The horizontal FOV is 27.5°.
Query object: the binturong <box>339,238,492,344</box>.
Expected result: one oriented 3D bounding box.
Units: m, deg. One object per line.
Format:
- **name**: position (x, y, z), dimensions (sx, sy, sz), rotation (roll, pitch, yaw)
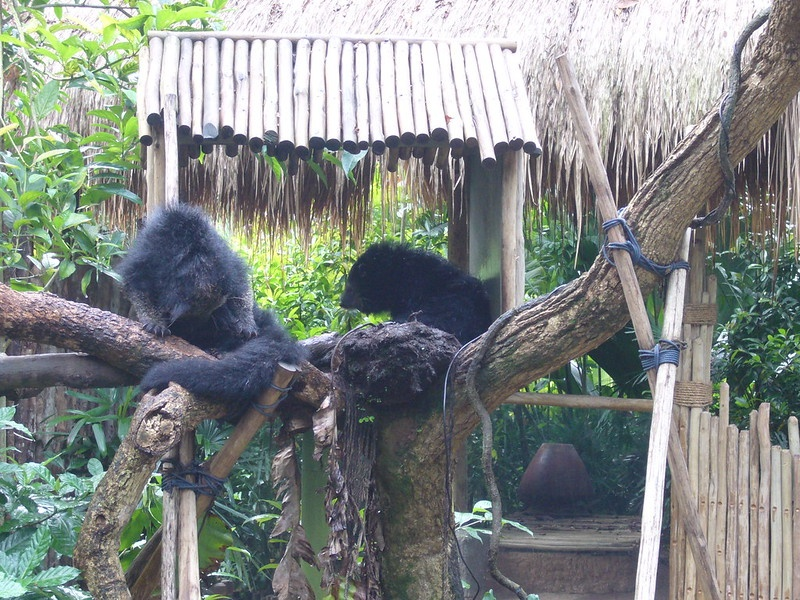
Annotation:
- **binturong**: position (0.121, -0.096, 11.910), dimensions (0.918, 0.642, 0.606), rotation (16, -15, 18)
